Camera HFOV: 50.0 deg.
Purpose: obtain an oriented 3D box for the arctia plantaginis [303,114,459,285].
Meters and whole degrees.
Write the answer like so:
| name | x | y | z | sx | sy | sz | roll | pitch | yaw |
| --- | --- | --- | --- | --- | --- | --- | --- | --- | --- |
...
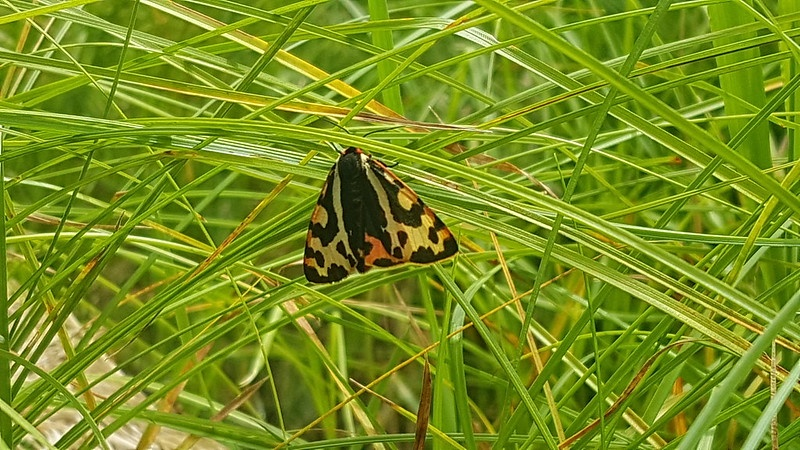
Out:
| name | x | y | z | sx | sy | sz | roll | pitch | yaw |
| --- | --- | --- | --- | --- | --- | --- | --- | --- | --- |
| arctia plantaginis | -0.070 | -0.071 | 3.022 | 0.702 | 0.155 | 0.426 | -9 | -82 | 16 |
